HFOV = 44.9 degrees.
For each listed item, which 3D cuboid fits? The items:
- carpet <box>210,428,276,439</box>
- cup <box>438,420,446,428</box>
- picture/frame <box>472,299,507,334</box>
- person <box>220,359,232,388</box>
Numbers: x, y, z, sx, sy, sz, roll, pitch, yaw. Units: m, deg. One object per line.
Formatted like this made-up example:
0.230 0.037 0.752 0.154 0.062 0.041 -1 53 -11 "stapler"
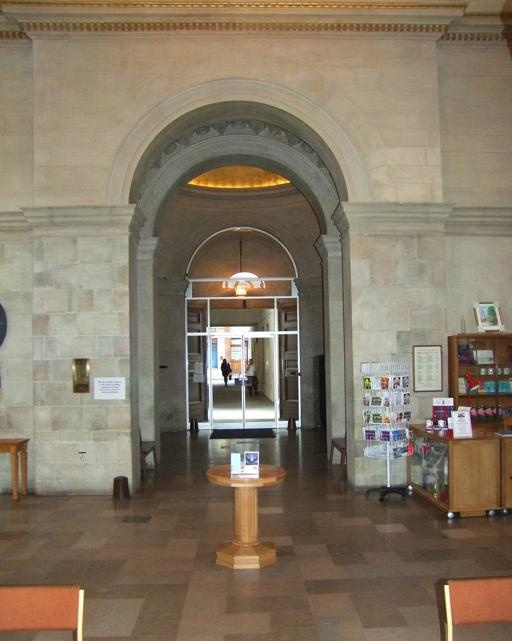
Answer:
-0.265 2.251 12.388 1.234 0.037 1.591 -2 -3 -3 "carpet"
2.017 1.134 6.763 0.098 0.085 0.058 0 -3 8 "cup"
2.785 -0.029 7.445 0.530 0.544 0.062 0 -35 -2 "picture/frame"
-0.781 1.341 16.300 0.285 0.710 0.905 -2 -3 -3 "person"
